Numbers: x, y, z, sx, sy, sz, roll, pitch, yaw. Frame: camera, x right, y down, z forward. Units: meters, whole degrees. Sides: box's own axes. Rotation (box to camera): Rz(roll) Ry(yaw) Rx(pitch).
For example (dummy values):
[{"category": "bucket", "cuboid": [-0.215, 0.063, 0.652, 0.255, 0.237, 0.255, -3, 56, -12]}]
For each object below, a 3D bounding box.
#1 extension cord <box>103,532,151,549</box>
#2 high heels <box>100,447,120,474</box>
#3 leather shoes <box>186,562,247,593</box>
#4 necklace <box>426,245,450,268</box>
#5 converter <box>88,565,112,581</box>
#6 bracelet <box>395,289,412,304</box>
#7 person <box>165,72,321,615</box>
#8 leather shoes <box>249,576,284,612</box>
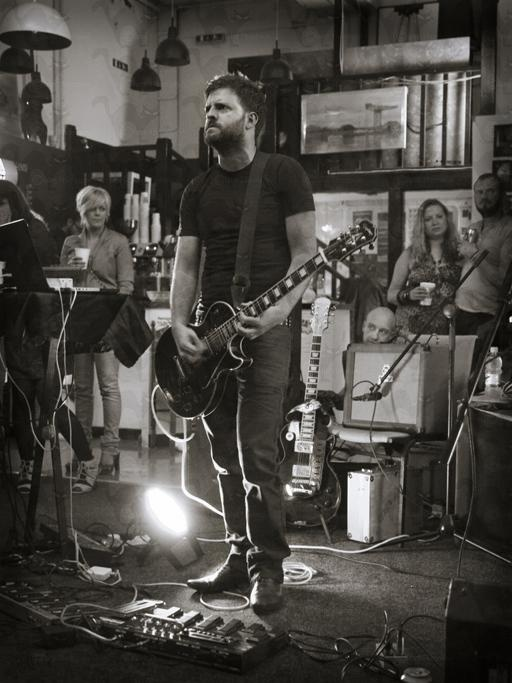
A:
[{"category": "extension cord", "cuboid": [-0.509, 0.782, 3.497, 0.201, 0.025, 0.088, 4, 15, -3]}, {"category": "high heels", "cuboid": [-0.799, 0.674, 4.930, 0.060, 0.093, 0.205, 0, -19, 4]}, {"category": "leather shoes", "cuboid": [-0.133, 0.797, 3.043, 0.217, 0.108, 0.084, 0, -9, -27]}, {"category": "necklace", "cuboid": [1.231, -0.569, 6.019, 0.166, 0.065, 0.017, 54, -1, 32]}, {"category": "converter", "cuboid": [-0.548, 0.805, 3.081, 0.086, 0.029, 0.099, 3, 2, 9]}, {"category": "bracelet", "cuboid": [0.970, -0.290, 5.861, 0.018, 0.084, 0.073, 4, -1, -36]}, {"category": "person", "cuboid": [-0.045, -0.028, 2.963, 0.389, 1.749, 0.602, 1, 2, -29]}, {"category": "leather shoes", "cuboid": [0.032, 0.797, 2.808, 0.073, 0.073, 0.166, 0, -8, 0]}]
